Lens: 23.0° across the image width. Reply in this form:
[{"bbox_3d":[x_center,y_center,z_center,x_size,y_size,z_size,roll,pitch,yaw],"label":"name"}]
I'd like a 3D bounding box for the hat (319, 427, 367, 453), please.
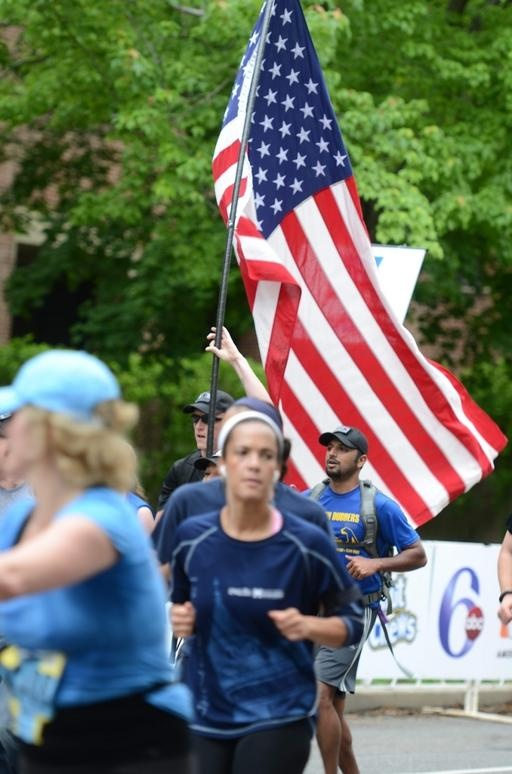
[{"bbox_3d":[0.479,0.288,6.806,0.212,0.096,0.146,23,-7,-29],"label":"hat"}]

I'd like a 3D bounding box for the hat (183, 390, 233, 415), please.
[{"bbox_3d":[-0.205,0.097,6.478,0.158,0.114,0.241,-2,-4,38],"label":"hat"}]
